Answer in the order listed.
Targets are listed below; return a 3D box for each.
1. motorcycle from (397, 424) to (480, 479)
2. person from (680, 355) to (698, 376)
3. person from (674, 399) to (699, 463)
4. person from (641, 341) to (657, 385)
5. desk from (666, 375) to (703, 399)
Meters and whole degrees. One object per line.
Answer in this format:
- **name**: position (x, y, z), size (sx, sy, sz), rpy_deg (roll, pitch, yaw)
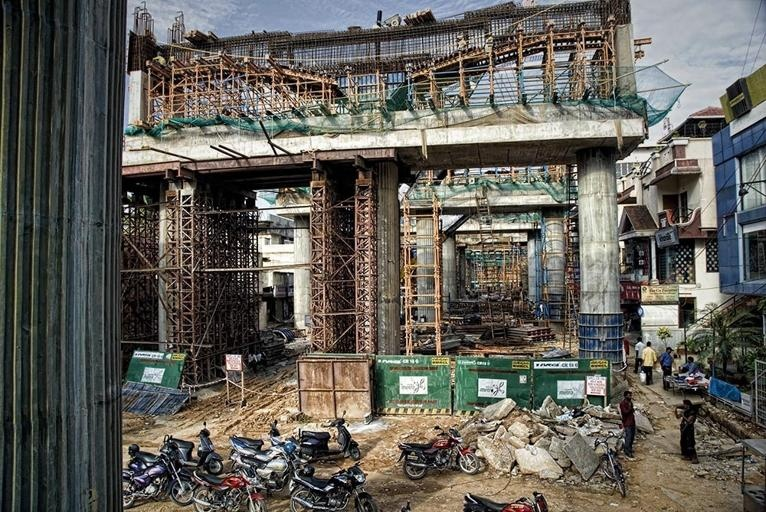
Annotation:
- **motorcycle**: position (1.955, 6.801, 27.418), size (2.929, 1.851, 1.338), rpy_deg (-3, -9, -6)
- **person**: position (12.802, 4.577, 33.064), size (0.604, 0.692, 1.002), rpy_deg (-1, -4, -5)
- **person**: position (10.649, 6.040, 27.565), size (0.543, 2.101, 0.845), rpy_deg (-3, -4, 20)
- **person**: position (11.707, 4.697, 34.824), size (0.497, 1.787, 1.544), rpy_deg (-3, -4, 20)
- **desk**: position (12.374, 5.348, 32.472), size (0.903, 0.822, 1.681), rpy_deg (0, -5, -22)
